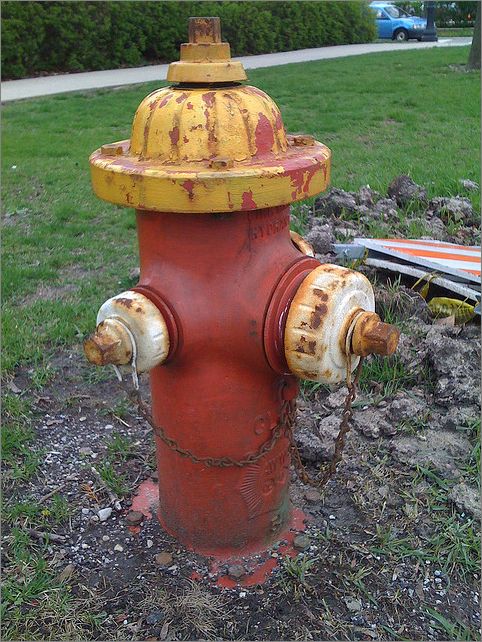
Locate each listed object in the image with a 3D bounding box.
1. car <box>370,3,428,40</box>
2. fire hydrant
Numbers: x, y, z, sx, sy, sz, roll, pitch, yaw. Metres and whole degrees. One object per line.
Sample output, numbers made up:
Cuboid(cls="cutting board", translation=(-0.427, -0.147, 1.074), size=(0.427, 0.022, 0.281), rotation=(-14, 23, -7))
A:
Cuboid(cls="car", translation=(5.058, -9.404, 21.657), size=(2.481, 1.099, 1.383), rotation=(9, 37, 19))
Cuboid(cls="fire hydrant", translation=(-0.022, 0.001, 1.905), size=(0.758, 1.560, 0.568), rotation=(-4, 24, -2))
